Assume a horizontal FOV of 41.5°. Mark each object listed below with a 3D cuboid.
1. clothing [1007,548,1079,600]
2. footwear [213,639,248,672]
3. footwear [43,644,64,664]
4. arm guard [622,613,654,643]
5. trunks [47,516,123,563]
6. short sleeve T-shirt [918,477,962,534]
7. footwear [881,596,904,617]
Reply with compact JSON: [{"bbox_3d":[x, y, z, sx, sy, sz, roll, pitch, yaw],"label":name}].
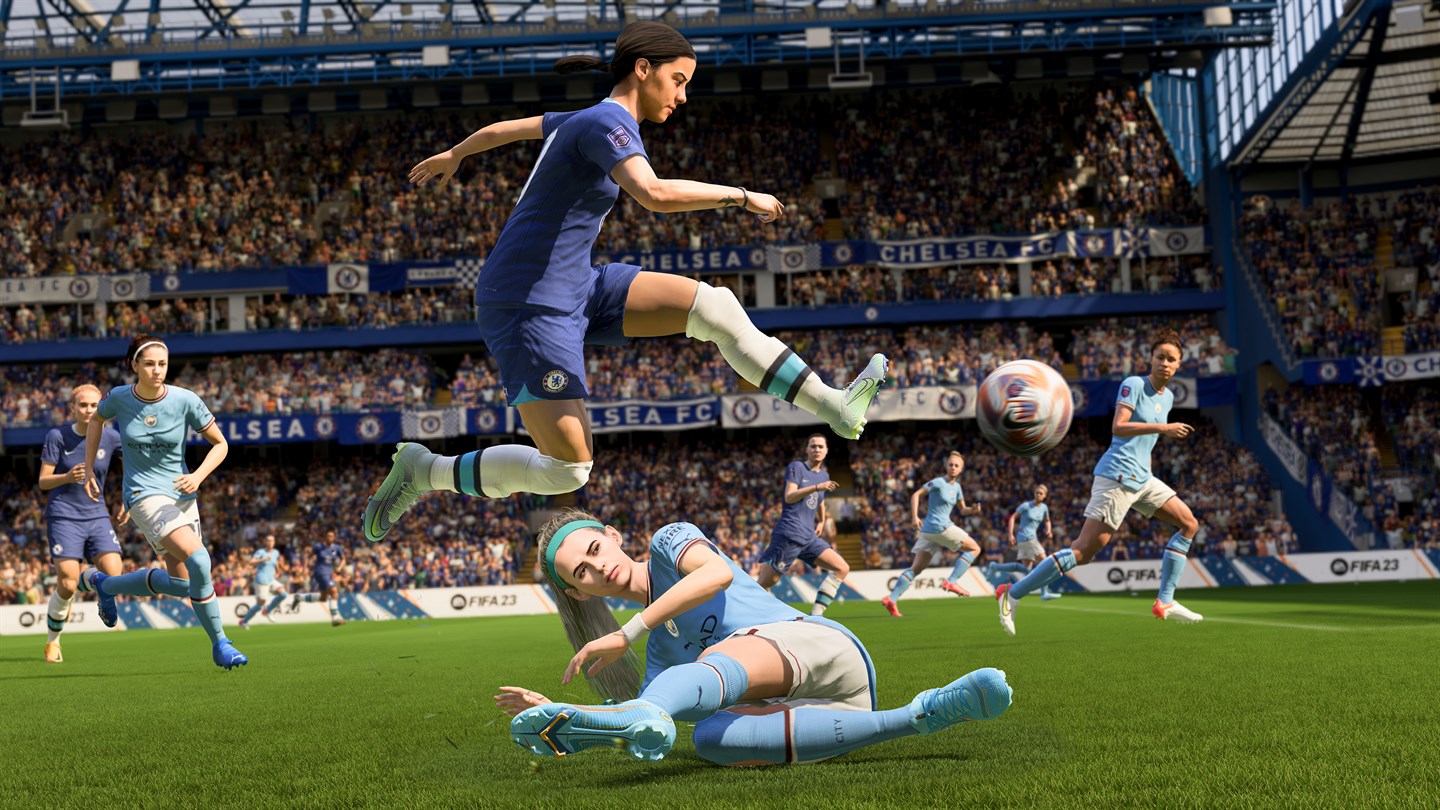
[{"bbox_3d":[9.800,5.140,57.418,2.637,0.720,0.807,-34,30,26],"label":"clothing"},{"bbox_3d":[-13.287,6.746,51.585,1.384,0.764,0.507,-1,16,45],"label":"footwear"},{"bbox_3d":[-18.857,6.976,53.560,0.452,0.654,0.627,-4,3,-28],"label":"footwear"},{"bbox_3d":[-2.148,5.554,47.225,0.620,0.694,0.756,-8,-9,30],"label":"arm guard"},{"bbox_3d":[-17.963,3.803,53.356,2.046,1.518,1.123,1,-11,-21],"label":"trunks"},{"bbox_3d":[6.759,3.135,58.664,1.515,1.686,0.890,19,-18,-26],"label":"short sleeve T-shirt"},{"bbox_3d":[5.212,6.199,57.895,0.398,0.336,0.859,-18,-34,14],"label":"footwear"}]
